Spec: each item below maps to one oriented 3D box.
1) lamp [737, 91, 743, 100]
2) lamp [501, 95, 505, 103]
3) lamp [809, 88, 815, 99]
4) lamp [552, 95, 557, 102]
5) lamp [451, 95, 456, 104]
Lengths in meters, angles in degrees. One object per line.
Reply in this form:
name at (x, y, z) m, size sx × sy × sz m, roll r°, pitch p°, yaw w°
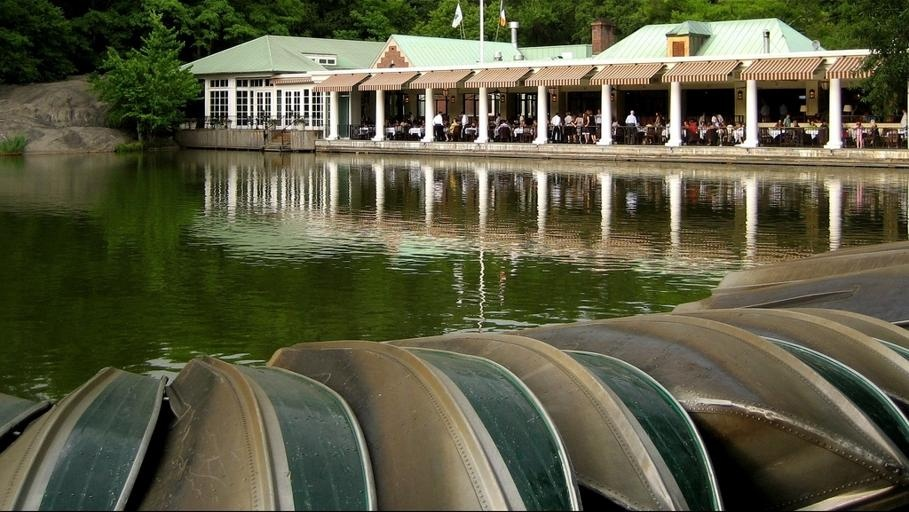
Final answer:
lamp at (13.830, -7.712, 44.083) m, size 0.238 × 0.234 × 0.444 m, roll -1°, pitch 4°, yaw 4°
lamp at (2.779, -8.785, 51.225) m, size 0.306 × 0.454 × 0.191 m, roll -1°, pitch 12°, yaw 3°
lamp at (16.836, -7.555, 42.855) m, size 0.341 × 0.372 × 0.097 m, roll 7°, pitch 15°, yaw 36°
lamp at (5.417, -8.455, 49.300) m, size 0.105 × 0.338 × 0.506 m, roll -9°, pitch 14°, yaw -30°
lamp at (-0.031, -8.896, 52.035) m, size 0.437 × 0.404 × 0.257 m, roll -2°, pitch 7°, yaw -5°
